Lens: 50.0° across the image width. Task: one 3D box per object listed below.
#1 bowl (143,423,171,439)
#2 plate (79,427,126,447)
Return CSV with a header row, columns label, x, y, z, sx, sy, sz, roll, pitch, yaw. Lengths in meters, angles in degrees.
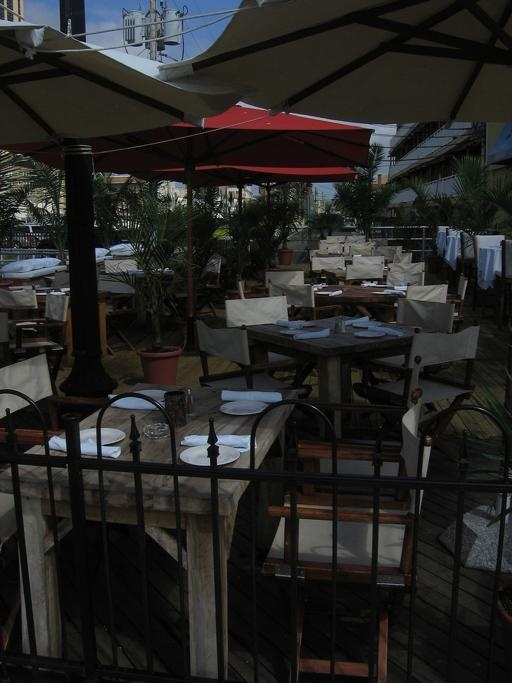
label,x,y,z,sx,sy,sz,roll,pitch,yaw
bowl,-0.344,0.307,1.897,0.090,0.031,0.091,3,11,-1
plate,-0.507,0.318,1.858,0.121,0.013,0.121,4,9,7
